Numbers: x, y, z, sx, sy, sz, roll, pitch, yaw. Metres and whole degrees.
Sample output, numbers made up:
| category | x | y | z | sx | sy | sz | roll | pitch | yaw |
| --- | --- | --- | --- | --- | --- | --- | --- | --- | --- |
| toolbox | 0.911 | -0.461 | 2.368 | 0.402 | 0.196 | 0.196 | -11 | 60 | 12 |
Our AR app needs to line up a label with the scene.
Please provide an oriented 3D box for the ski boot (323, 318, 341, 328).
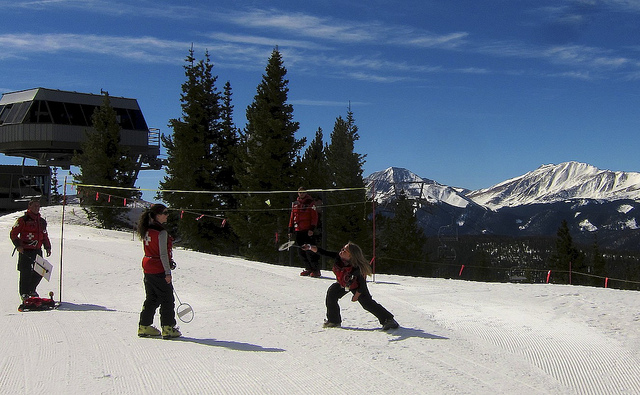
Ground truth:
| category | x | y | z | sx | sy | sz | roll | pitch | yaw |
| --- | --- | --- | --- | --- | --- | --- | --- | --- | --- |
| ski boot | 0.262 | 3.315 | 15.017 | 0.481 | 0.313 | 0.158 | 14 | -13 | -13 |

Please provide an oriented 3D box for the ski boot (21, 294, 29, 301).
| category | x | y | z | sx | sy | sz | roll | pitch | yaw |
| --- | --- | --- | --- | --- | --- | --- | --- | --- | --- |
| ski boot | -8.685 | 2.926 | 16.773 | 0.272 | 0.176 | 0.114 | 3 | 0 | 13 |

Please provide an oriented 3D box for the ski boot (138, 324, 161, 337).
| category | x | y | z | sx | sy | sz | roll | pitch | yaw |
| --- | --- | --- | --- | --- | --- | --- | --- | --- | --- |
| ski boot | -4.223 | 3.300 | 14.233 | 0.630 | 0.293 | 0.222 | 2 | -4 | -5 |

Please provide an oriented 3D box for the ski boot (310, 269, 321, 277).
| category | x | y | z | sx | sy | sz | roll | pitch | yaw |
| --- | --- | --- | --- | --- | --- | --- | --- | --- | --- |
| ski boot | -0.190 | 2.872 | 21.688 | 0.386 | 0.277 | 0.295 | 3 | 0 | -2 |

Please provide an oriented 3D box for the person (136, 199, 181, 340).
| category | x | y | z | sx | sy | sz | roll | pitch | yaw |
| --- | --- | --- | --- | --- | --- | --- | --- | --- | --- |
| person | -3.972 | 1.820 | 14.011 | 0.976 | 3.306 | 0.500 | 3 | 0 | 14 |

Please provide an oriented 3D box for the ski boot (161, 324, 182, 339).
| category | x | y | z | sx | sy | sz | roll | pitch | yaw |
| --- | --- | --- | --- | --- | --- | --- | --- | --- | --- |
| ski boot | -3.600 | 3.306 | 14.259 | 0.642 | 0.413 | 0.212 | 0 | -1 | -7 |
